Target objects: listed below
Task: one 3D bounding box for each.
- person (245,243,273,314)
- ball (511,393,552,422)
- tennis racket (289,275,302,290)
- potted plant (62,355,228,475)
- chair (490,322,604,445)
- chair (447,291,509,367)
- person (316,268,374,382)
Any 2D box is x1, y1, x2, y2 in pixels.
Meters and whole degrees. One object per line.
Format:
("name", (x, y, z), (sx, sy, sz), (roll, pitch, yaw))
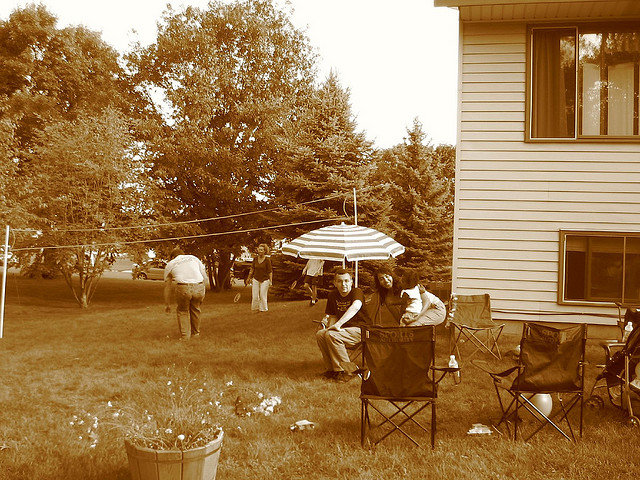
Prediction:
("person", (-1.650, 1.094, 17.194), (0.517, 1.934, 0.764), (-2, 6, -18))
("ball", (3.065, 2.428, 8.754), (0.322, 0.406, 0.360), (-10, -37, -23))
("tennis racket", (-0.862, 1.533, 21.823), (0.158, 0.536, 0.255), (37, -3, -35))
("potted plant", (-2.090, 2.370, 7.609), (1.531, 1.237, 1.455), (3, 1, -5))
("chair", (2.867, 1.864, 7.955), (1.303, 1.863, 1.310), (5, -18, 11))
("chair", (3.054, 1.746, 11.964), (0.867, 1.292, 0.853), (0, 0, -9))
("person", (0.406, 1.500, 10.600), (0.914, 1.882, 0.754), (1, 6, 11))
